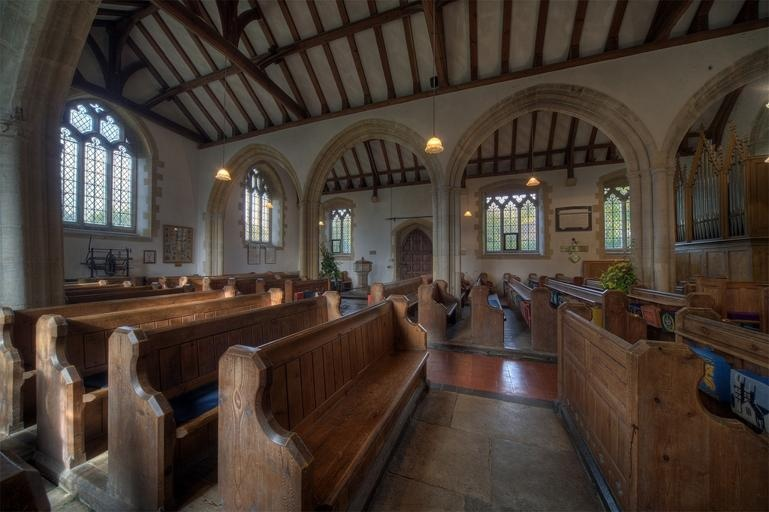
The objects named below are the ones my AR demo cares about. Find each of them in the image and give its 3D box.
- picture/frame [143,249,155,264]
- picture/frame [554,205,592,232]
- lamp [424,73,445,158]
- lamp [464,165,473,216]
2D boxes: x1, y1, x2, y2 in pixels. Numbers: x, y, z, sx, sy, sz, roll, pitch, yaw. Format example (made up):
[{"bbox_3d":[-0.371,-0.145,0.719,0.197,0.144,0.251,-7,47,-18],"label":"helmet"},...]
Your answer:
[{"bbox_3d":[-6.026,0.007,11.837,0.022,0.345,0.334,-3,-5,25],"label":"picture/frame"},{"bbox_3d":[5.240,-1.046,12.815,0.697,0.624,0.074,-1,-4,27],"label":"picture/frame"},{"bbox_3d":[0.998,-2.970,9.533,0.383,1.561,1.585,-3,0,7],"label":"lamp"},{"bbox_3d":[2.439,-1.907,13.775,0.243,1.216,0.536,-2,1,13],"label":"lamp"}]
